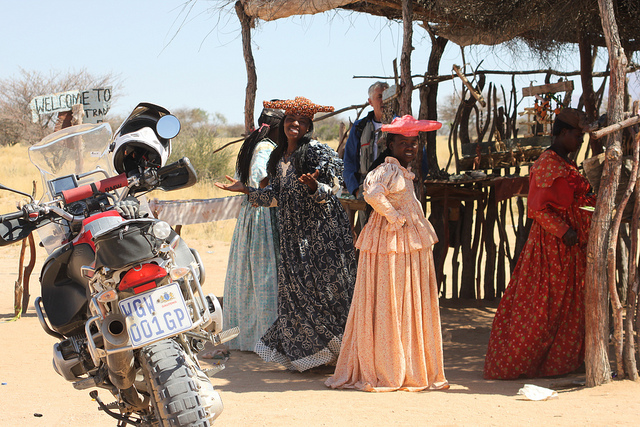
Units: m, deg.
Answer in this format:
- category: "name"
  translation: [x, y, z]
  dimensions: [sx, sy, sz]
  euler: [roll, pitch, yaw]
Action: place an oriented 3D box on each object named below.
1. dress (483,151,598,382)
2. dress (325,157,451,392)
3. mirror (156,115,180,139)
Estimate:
- category: "dress"
  translation: [2.411, 0.552, 8.488]
  dimensions: [1.194, 2.411, 0.709]
  euler: [-2, 12, 3]
- category: "dress"
  translation: [0.734, 0.634, 8.250]
  dimensions: [1.161, 2.393, 0.746]
  euler: [-2, 12, 4]
- category: "mirror"
  translation: [-1.444, -0.819, 7.363]
  dimensions: [0.229, 0.225, 0.139]
  euler: [-4, 12, -5]
